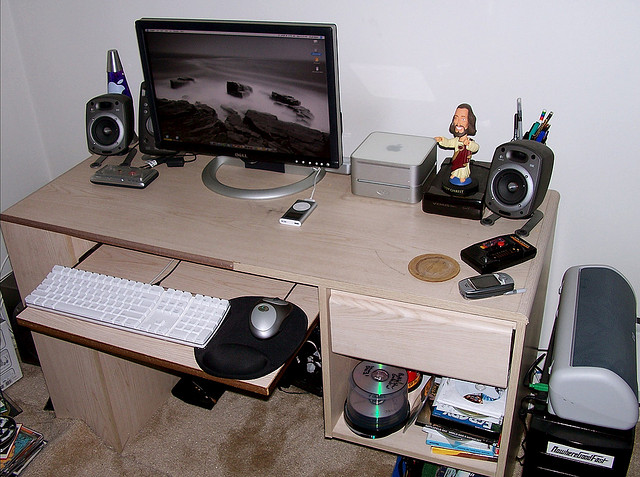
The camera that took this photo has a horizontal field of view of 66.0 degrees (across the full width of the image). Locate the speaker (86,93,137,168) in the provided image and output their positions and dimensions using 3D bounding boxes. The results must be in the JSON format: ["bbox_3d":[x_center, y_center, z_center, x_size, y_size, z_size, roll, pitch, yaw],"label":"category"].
[{"bbox_3d":[-0.706,-0.376,1.730,0.146,0.265,0.129,3,33,9],"label":"speaker"}]

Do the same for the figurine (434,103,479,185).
[{"bbox_3d":[0.379,-0.264,1.426,0.111,0.214,0.104,16,37,19],"label":"figurine"}]

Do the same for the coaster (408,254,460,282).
[{"bbox_3d":[0.283,0.074,1.228,0.123,0.010,0.096,-1,35,1],"label":"coaster"}]

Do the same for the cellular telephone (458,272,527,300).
[{"bbox_3d":[0.387,0.110,1.147,0.117,0.031,0.066,-8,30,-3],"label":"cellular telephone"}]

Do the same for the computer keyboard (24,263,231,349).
[{"bbox_3d":[-0.525,0.177,1.333,0.560,0.046,0.141,9,36,15],"label":"computer keyboard"}]

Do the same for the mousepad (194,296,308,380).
[{"bbox_3d":[-0.165,0.251,1.256,0.239,0.035,0.272,13,38,20],"label":"mousepad"}]

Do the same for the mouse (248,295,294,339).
[{"bbox_3d":[-0.121,0.186,1.291,0.096,0.071,0.186,4,35,8],"label":"mouse"}]

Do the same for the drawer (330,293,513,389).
[{"bbox_3d":[0.234,0.243,1.201,0.436,0.171,0.045,10,36,16],"label":"drawer"}]
